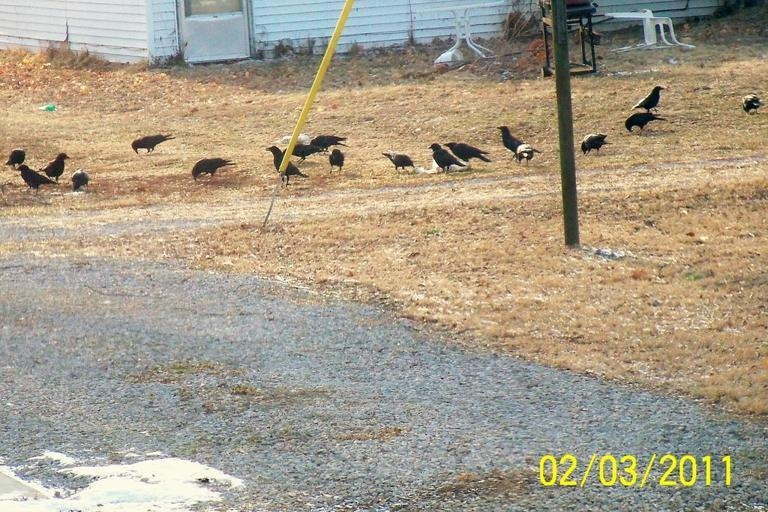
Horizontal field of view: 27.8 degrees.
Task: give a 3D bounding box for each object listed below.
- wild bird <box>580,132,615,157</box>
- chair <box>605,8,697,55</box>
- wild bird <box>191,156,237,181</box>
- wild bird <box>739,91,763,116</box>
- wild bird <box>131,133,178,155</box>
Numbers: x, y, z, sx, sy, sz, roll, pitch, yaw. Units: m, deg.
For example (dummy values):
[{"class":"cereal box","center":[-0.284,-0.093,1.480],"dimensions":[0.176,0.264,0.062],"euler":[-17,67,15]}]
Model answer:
[{"class":"wild bird","center":[4.468,-2.342,32.310],"dimensions":[0.602,0.396,0.903],"euler":[-2,10,7]},{"class":"chair","center":[6.832,-5.824,40.143],"dimensions":[2.616,0.786,0.754],"euler":[3,4,-10]},{"class":"wild bird","center":[-3.638,-1.870,32.802],"dimensions":[0.822,0.427,0.944],"euler":[-4,10,-6]},{"class":"wild bird","center":[8.066,-3.272,33.416],"dimensions":[0.371,0.375,0.685],"euler":[-19,-1,-2]},{"class":"wild bird","center":[-5.220,-2.530,34.923],"dimensions":[1.330,0.383,0.380],"euler":[-12,10,16]}]
